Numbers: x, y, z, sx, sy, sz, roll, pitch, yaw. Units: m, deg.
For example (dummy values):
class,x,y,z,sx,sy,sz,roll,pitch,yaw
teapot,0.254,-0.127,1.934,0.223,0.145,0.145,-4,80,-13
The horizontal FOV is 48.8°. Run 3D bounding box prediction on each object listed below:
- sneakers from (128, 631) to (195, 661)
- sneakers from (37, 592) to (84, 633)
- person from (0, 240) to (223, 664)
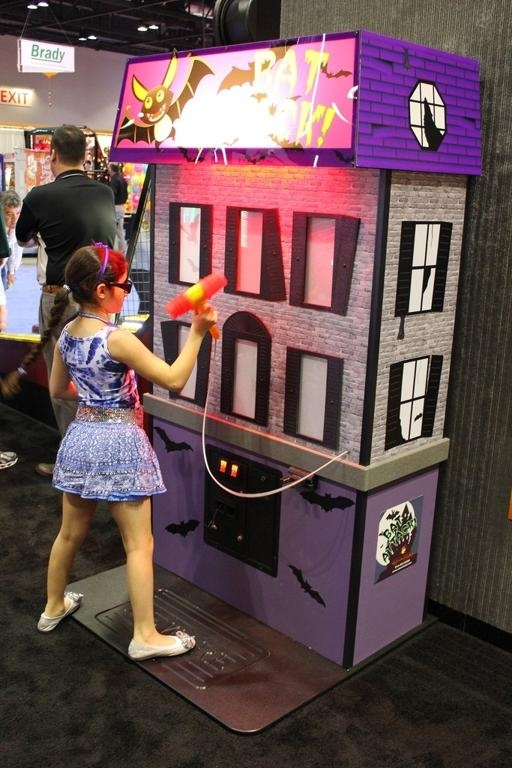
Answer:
class,x,y,z,sx,sy,sz,roll,pitch,yaw
sneakers,-0.289,0.792,1.758,0.199,0.064,0.083,-4,8,-29
sneakers,-0.675,0.788,1.948,0.057,0.053,0.170,11,25,14
person,-0.434,0.226,1.741,0.370,1.257,0.581,-3,8,-44
